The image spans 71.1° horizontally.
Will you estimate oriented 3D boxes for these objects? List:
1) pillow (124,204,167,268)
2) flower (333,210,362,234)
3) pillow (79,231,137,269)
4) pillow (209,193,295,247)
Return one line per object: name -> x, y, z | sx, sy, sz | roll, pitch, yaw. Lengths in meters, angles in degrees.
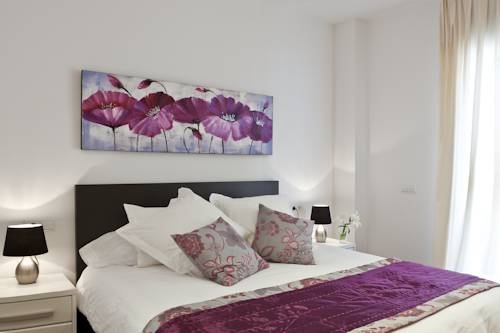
pillow -> -0.961, 0.612, 3.173 | 0.481, 0.479, 0.130 | 1, -16, -42
flower -> 1.279, 0.692, 4.433 | 0.354, 0.344, 0.346 | 4, -7, -28
pillow -> -1.275, 0.759, 3.156 | 0.397, 0.117, 0.391 | -15, 44, -34
pillow -> -0.057, 0.608, 3.676 | 0.985, 0.385, 0.435 | 6, 9, -45
